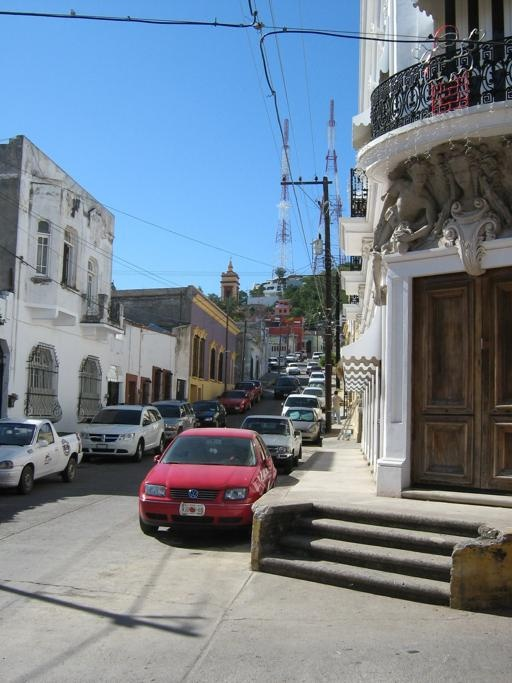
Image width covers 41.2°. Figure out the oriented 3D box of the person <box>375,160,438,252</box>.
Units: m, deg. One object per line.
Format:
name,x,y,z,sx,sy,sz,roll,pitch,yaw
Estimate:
person,2.033,-1.789,9.009,0.747,1.522,0.555,11,40,10
